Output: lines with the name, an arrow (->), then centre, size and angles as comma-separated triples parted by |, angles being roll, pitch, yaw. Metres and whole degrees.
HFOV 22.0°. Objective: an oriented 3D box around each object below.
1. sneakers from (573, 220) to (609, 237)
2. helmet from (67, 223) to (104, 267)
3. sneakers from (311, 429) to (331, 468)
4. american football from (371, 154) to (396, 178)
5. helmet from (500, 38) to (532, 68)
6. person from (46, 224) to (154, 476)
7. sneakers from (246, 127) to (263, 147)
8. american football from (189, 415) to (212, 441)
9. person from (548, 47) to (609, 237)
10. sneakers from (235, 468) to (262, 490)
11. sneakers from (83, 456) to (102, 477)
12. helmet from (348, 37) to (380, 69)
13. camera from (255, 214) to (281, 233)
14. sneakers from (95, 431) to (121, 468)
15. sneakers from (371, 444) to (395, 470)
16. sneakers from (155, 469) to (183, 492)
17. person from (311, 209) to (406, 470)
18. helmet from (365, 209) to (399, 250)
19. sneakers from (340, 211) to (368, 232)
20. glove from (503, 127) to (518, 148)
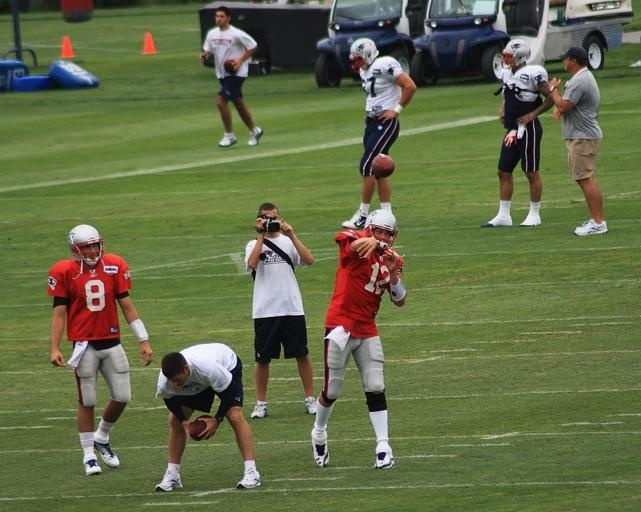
sneakers -> 3.994, -0.442, 24.416 | 0.565, 0.236, 0.196 | -1, 34, 4
helmet -> -2.686, -0.156, 18.866 | 0.508, 0.387, 0.368 | 11, 20, 43
sneakers -> -0.013, 2.126, 18.514 | 0.176, 0.421, 0.192 | -8, 8, -5
american football -> 0.912, -1.342, 24.334 | 0.363, 0.373, 0.334 | -11, 48, 1
helmet -> 2.925, -3.046, 24.567 | 0.484, 0.373, 0.357 | 1, 11, 6
person -> -2.515, 1.017, 18.834 | 1.090, 2.707, 0.896 | -4, 13, -12
sneakers -> -1.247, -2.322, 31.756 | 0.180, 0.450, 0.225 | 26, 8, 40
american football -> -1.329, 1.862, 18.037 | 0.174, 0.263, 0.195 | 9, 53, -18
person -> 3.746, -1.641, 23.905 | 0.770, 2.799, 0.540 | 1, 13, 9
sneakers -> -0.785, 2.445, 18.053 | 0.139, 0.135, 0.341 | 2, 2, 42
sneakers -> -2.574, 2.349, 18.651 | 0.192, 0.187, 0.160 | -2, 12, -5
helmet -> 0.649, -3.104, 24.785 | 0.531, 0.390, 0.393 | 4, 6, -2
camera -> -0.615, -0.397, 19.661 | 0.289, 0.208, 0.137 | 0, 13, 4
sneakers -> -2.460, 2.201, 18.856 | 0.454, 0.175, 0.166 | 39, 42, 4
sneakers -> 0.717, 2.189, 18.319 | 0.240, 0.281, 0.227 | -1, 12, -3
sneakers -> -1.673, 2.443, 18.194 | 0.304, 0.229, 0.251 | -2, 12, -7
person -> 0.405, 0.907, 18.511 | 1.076, 2.770, 1.161 | 0, 13, 3
helmet -> 0.681, -0.342, 18.689 | 0.373, 0.392, 0.453 | 12, 10, -21
sneakers -> 0.552, -0.525, 24.493 | 0.188, 0.217, 0.555 | 28, 13, 17
glove -> 2.850, -1.773, 24.551 | 0.212, 0.258, 0.074 | 27, -6, 27
